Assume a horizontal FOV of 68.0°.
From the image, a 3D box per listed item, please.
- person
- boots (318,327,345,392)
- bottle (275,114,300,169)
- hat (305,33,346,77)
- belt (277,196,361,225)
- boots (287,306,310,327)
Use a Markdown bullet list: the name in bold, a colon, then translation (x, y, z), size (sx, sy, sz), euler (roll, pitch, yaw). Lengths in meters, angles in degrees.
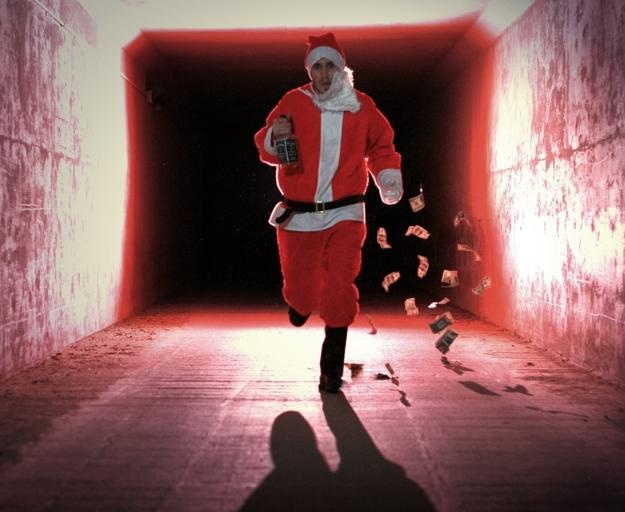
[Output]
- **person**: translation (0.086, -0.252, 2.547), size (0.769, 1.906, 0.442), euler (1, -2, -4)
- **boots**: translation (0.107, 0.536, 2.460), size (0.137, 0.329, 0.185), euler (1, -2, 2)
- **bottle**: translation (-0.117, -0.591, 2.413), size (0.090, 0.267, 0.124), euler (-1, -3, 35)
- **hat**: translation (0.075, -1.093, 2.587), size (0.187, 0.204, 0.246), euler (-7, 38, 0)
- **belt**: translation (0.030, -0.246, 2.482), size (0.477, 0.160, 0.123), euler (0, -2, 13)
- **boots**: translation (-0.082, 0.358, 2.766), size (0.130, 0.156, 0.163), euler (1, -15, 2)
